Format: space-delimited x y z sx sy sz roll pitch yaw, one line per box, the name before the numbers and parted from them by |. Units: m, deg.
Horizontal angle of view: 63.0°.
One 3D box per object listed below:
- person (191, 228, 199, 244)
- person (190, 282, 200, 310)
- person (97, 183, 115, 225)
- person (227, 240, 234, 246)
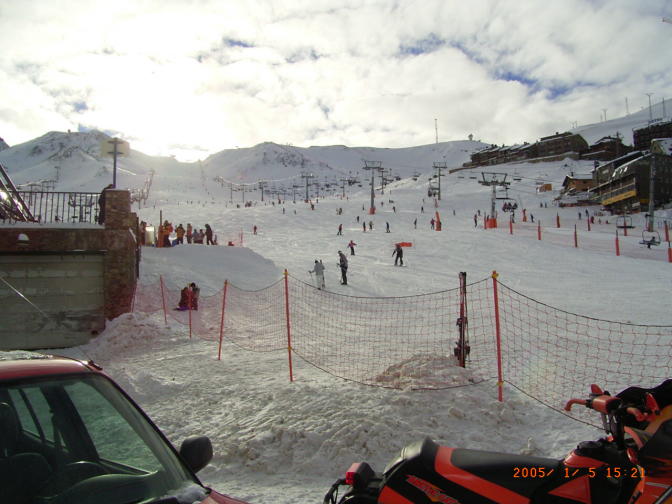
person | -8.536 -0.917 33.255 0.417 0.610 0.985 -5 7 -15
person | -5.191 1.610 20.007 0.305 0.871 1.957 -5 7 -15
person | -7.261 -1.536 17.159 0.570 1.206 2.180 -6 7 -21
person | -7.285 -0.647 37.677 0.617 0.253 0.803 2 5 14
